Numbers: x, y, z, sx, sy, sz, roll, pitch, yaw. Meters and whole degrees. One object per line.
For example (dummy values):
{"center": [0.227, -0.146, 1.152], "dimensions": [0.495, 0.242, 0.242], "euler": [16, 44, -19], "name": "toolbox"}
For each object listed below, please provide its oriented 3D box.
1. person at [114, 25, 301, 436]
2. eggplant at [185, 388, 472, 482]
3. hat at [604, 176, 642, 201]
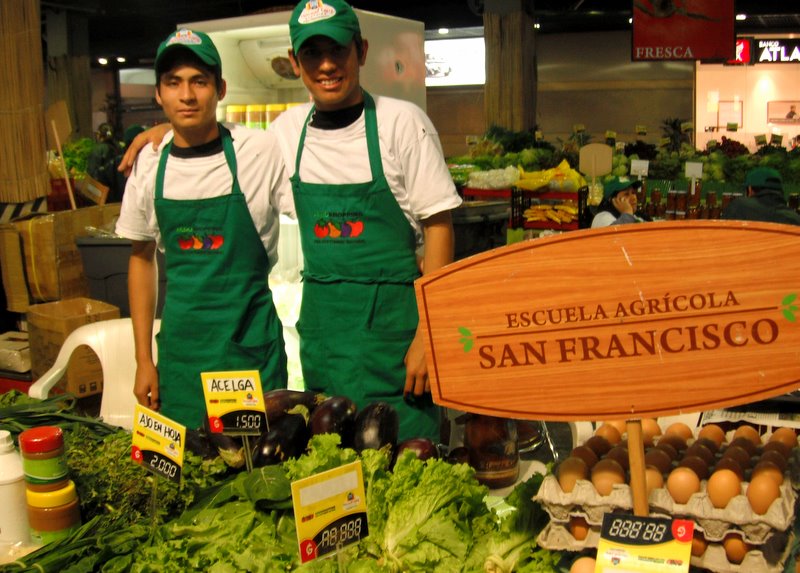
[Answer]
{"center": [-0.848, -0.083, 2.612], "dimensions": [0.568, 1.938, 0.642], "euler": [-1, 3, -17], "name": "person"}
{"center": [-0.255, 0.397, 1.661], "dimensions": [0.563, 0.182, 0.320], "euler": [-2, 24, -20], "name": "eggplant"}
{"center": [2.046, -0.911, 5.382], "dimensions": [0.373, 0.189, 0.233], "euler": [-11, 11, -38], "name": "hat"}
